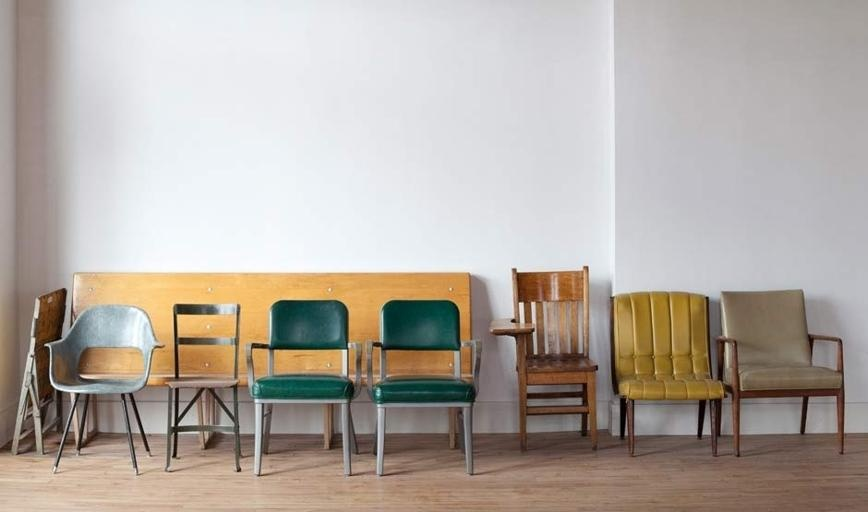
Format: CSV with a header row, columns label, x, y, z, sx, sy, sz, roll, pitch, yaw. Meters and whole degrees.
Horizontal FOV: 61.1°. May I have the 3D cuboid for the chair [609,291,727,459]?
label,x,y,z,sx,sy,sz,roll,pitch,yaw
chair,2.266,1.116,7.219,1.194,1.280,1.082,-1,4,26

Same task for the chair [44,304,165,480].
label,x,y,z,sx,sy,sz,roll,pitch,yaw
chair,-3.129,1.216,7.000,1.058,1.249,0.934,0,7,-12

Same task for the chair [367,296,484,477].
label,x,y,z,sx,sy,sz,roll,pitch,yaw
chair,-0.085,1.228,7.122,1.087,1.650,0.855,-2,-5,-1

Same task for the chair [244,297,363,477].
label,x,y,z,sx,sy,sz,roll,pitch,yaw
chair,-1.242,1.235,7.066,1.046,1.644,0.874,-1,-5,-10

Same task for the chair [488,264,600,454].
label,x,y,z,sx,sy,sz,roll,pitch,yaw
chair,1.118,1.016,7.361,0.994,1.799,0.878,-3,-5,11

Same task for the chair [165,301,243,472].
label,x,y,z,sx,sy,sz,roll,pitch,yaw
chair,-2.267,1.255,7.264,0.722,1.584,0.972,-1,-5,-14
